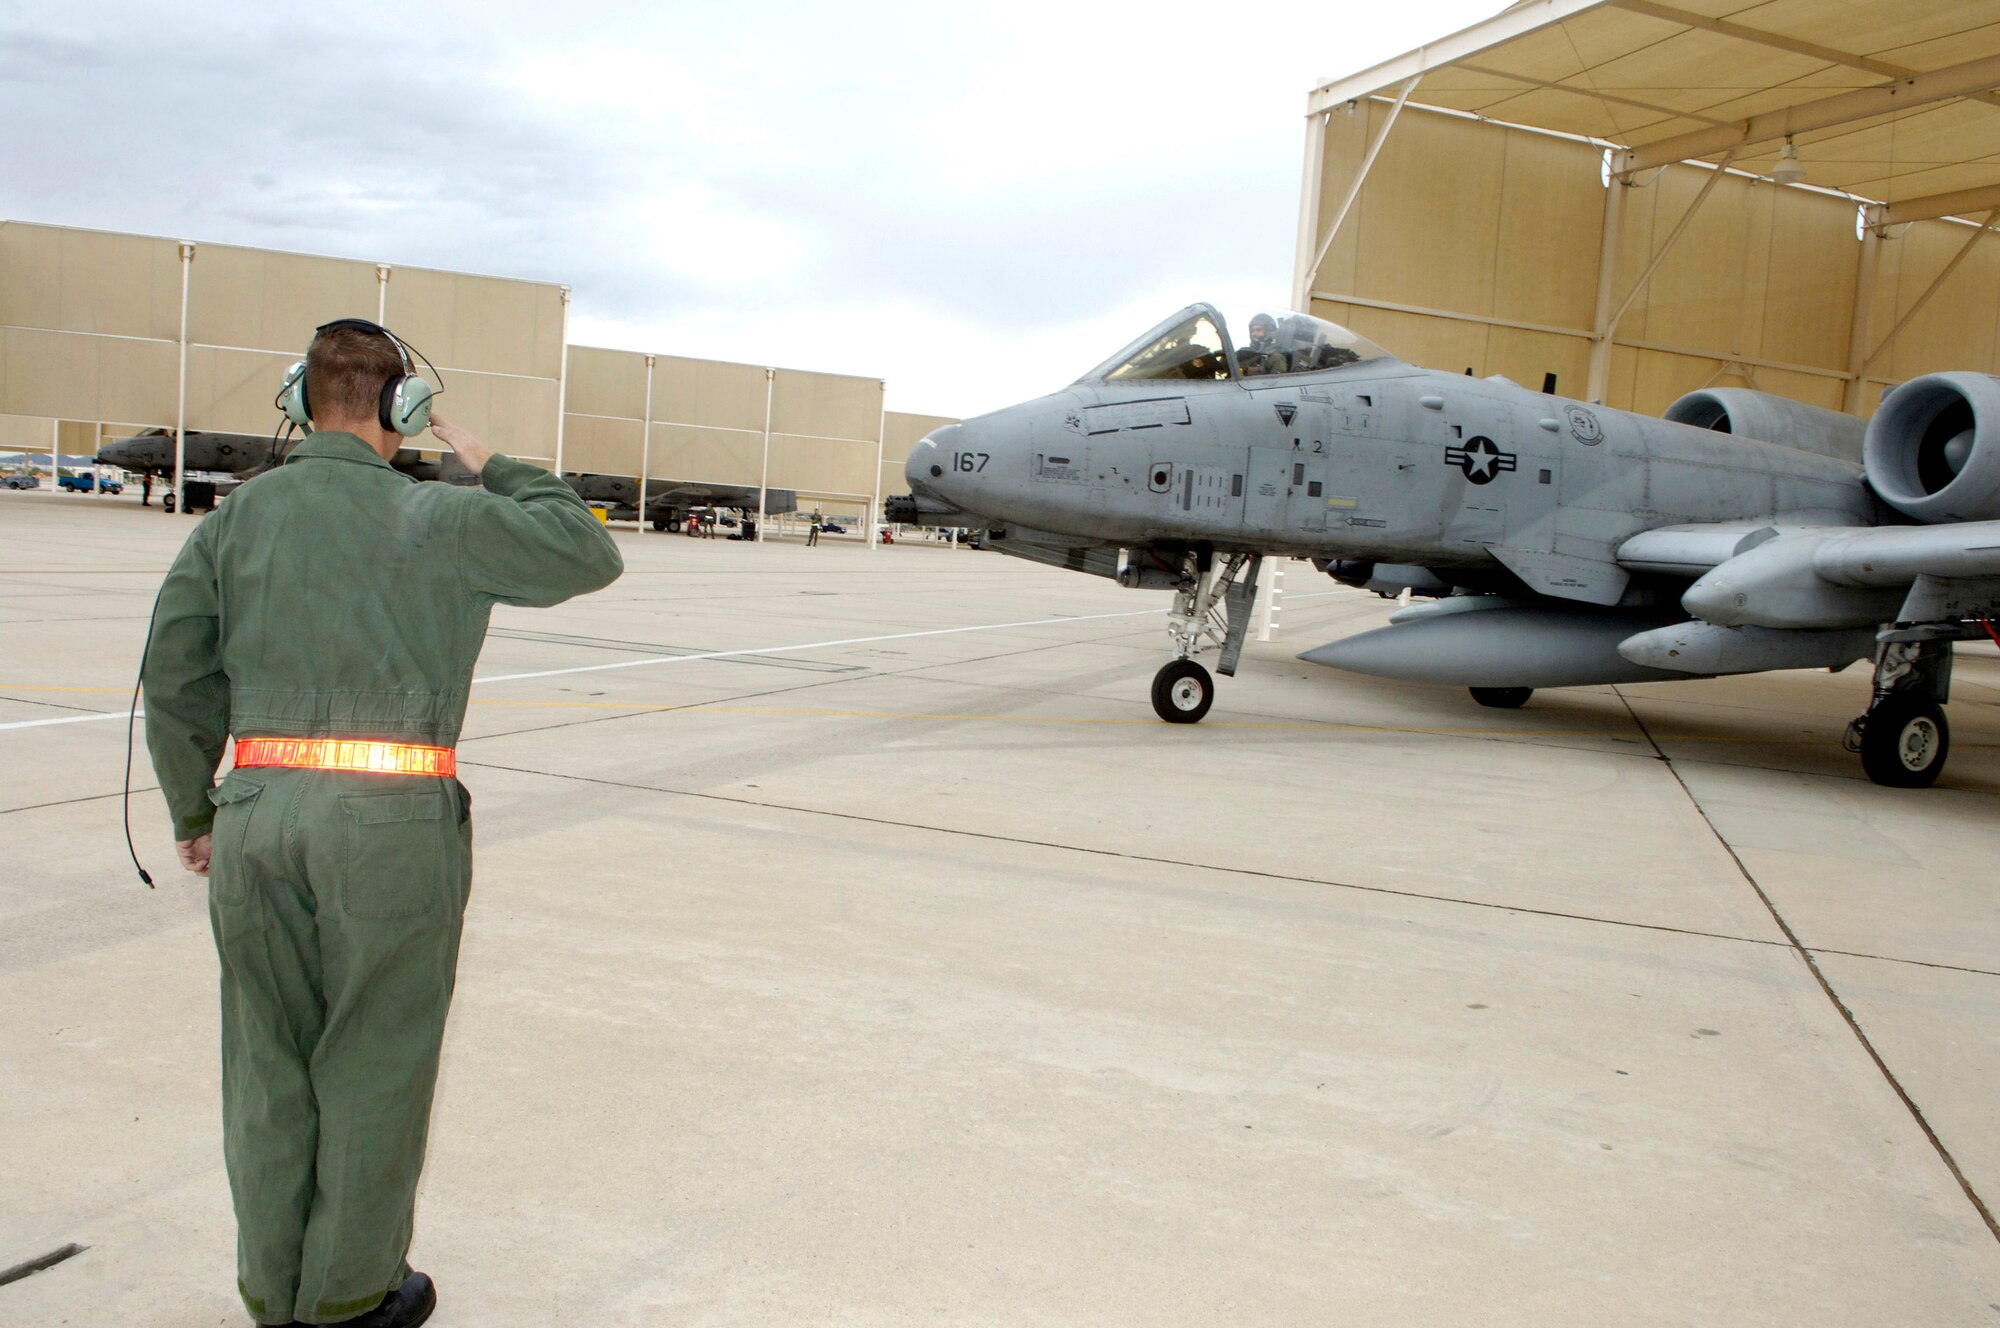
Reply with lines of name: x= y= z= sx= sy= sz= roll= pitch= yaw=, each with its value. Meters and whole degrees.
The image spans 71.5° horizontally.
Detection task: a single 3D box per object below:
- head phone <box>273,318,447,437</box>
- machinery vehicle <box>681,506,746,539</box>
head phone: x=-1.596 y=-0.725 z=3.470 sx=0.430 sy=0.241 sz=0.151 roll=9 pitch=25 yaw=17
machinery vehicle: x=-9.221 y=-4.541 z=44.127 sx=2.099 sy=0.548 sz=2.513 roll=0 pitch=2 yaw=-16
